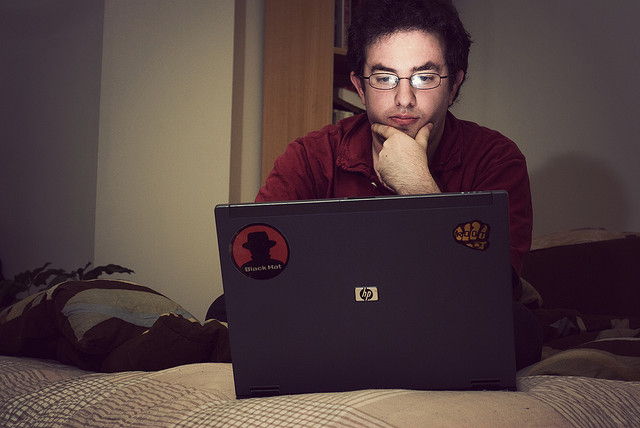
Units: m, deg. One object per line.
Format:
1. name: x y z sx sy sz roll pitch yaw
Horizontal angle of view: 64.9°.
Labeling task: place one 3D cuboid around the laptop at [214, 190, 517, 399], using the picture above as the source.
1. laptop: 0.115 0.213 1.281 0.780 0.470 0.056 3 -1 3
